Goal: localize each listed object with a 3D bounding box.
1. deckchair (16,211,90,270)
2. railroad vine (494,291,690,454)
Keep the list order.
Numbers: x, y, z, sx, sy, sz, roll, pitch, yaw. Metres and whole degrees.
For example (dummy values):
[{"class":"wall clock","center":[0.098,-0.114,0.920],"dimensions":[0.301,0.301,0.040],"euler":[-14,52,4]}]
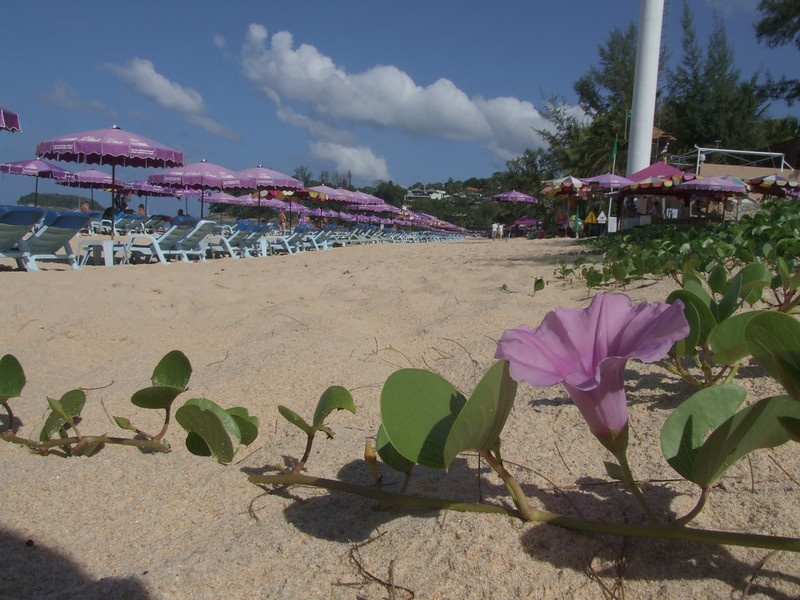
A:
[{"class":"deckchair","center":[-4.531,-0.773,7.030],"dimensions":[1.237,0.820,0.655],"euler":[10,8,37]},{"class":"railroad vine","center":[0.379,0.146,1.212],"dimensions":[0.366,0.326,0.316],"euler":[-4,14,1]}]
